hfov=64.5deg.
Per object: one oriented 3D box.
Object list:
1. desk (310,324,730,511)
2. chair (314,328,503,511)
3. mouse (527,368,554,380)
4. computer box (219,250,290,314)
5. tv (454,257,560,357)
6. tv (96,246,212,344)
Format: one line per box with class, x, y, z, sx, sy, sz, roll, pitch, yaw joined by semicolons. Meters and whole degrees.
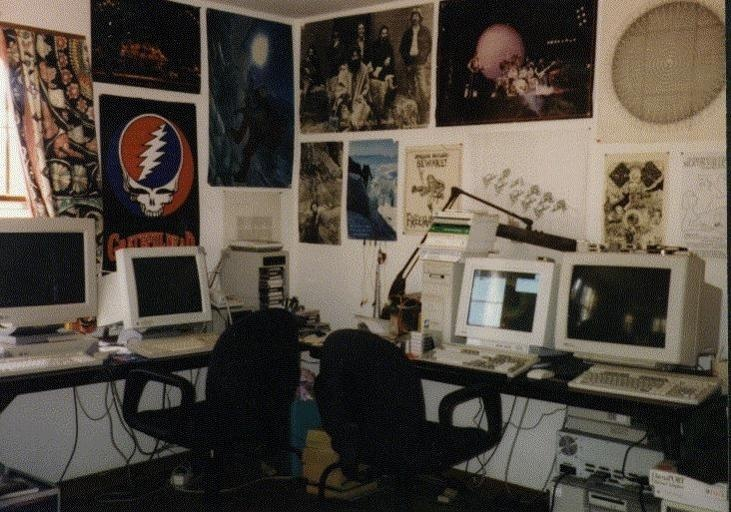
desk;0.343;0.852;3.324;1.558;0.688;1.052;-1;-4;45
chair;0.190;0.744;3.464;0.928;1.168;0.947;-6;8;-41
mouse;0.999;0.672;3.323;0.077;0.020;0.072;5;9;35
computer box;-0.893;0.220;4.839;0.408;0.548;0.342;3;3;37
tv;0.916;0.334;3.686;0.516;0.520;0.282;4;-14;31
tv;-1.543;0.284;4.286;0.634;0.709;0.704;1;-5;-42
